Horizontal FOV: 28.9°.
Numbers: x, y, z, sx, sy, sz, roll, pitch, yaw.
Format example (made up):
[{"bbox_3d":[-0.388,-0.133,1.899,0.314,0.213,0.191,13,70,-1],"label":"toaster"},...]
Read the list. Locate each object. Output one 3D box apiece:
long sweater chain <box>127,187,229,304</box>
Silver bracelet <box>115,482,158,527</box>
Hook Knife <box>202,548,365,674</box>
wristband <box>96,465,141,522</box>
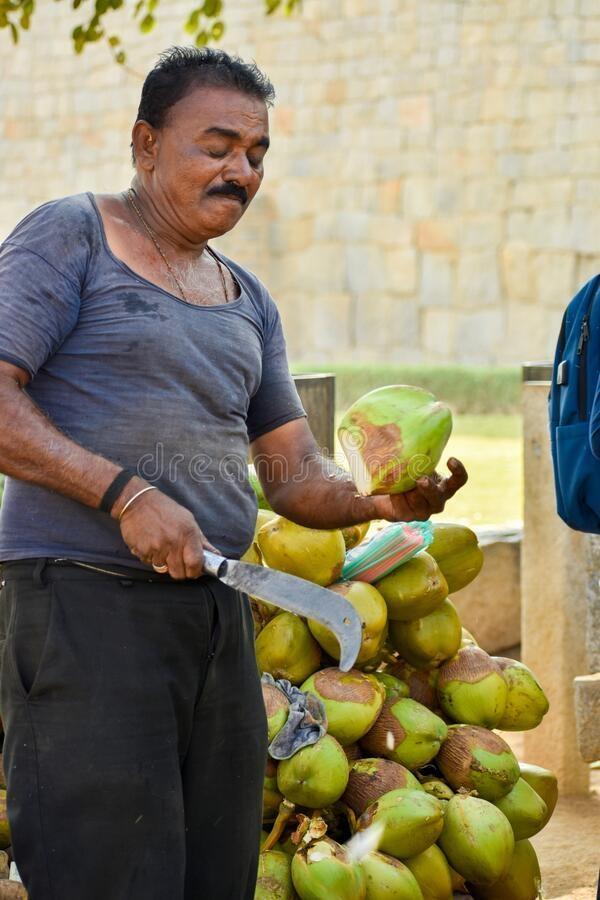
[{"bbox_3d":[-0.259,-0.390,2.206,0.056,0.295,0.159,-38,2,32],"label":"long sweater chain"},{"bbox_3d":[-0.278,0.094,1.952,0.069,0.019,0.061,-41,0,11],"label":"Silver bracelet"},{"bbox_3d":[-0.032,0.265,1.966,0.254,0.202,0.126,-3,4,6],"label":"Hook Knife"},{"bbox_3d":[-0.317,0.077,1.929,0.070,0.028,0.062,-56,9,-9],"label":"wristband"}]
